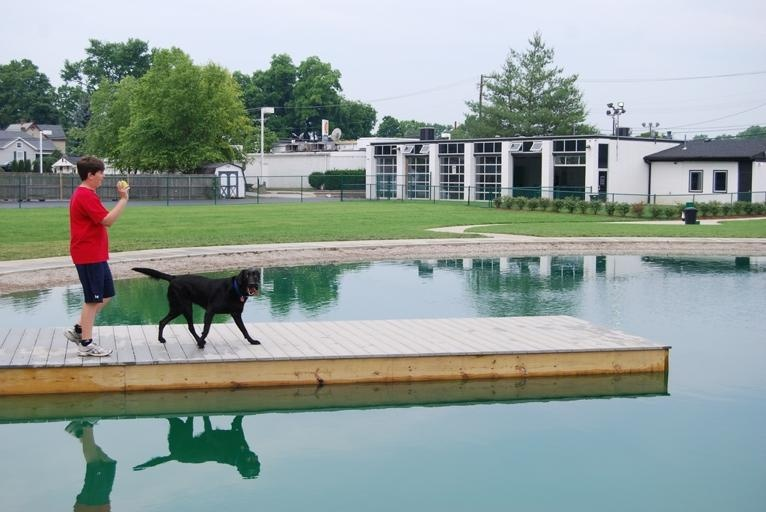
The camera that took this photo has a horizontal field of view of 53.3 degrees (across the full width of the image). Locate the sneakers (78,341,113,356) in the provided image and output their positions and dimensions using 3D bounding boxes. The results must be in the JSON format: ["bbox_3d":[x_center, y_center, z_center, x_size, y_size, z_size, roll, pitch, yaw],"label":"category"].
[{"bbox_3d":[-4.182,1.354,11.167,0.464,0.196,0.186,2,8,-15],"label":"sneakers"}]

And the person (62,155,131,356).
[{"bbox_3d":[-4.002,0.067,10.749,0.915,2.879,0.416,5,13,15],"label":"person"}]

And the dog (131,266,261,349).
[{"bbox_3d":[-2.625,0.760,11.167,1.875,1.120,0.588,2,4,9],"label":"dog"}]
